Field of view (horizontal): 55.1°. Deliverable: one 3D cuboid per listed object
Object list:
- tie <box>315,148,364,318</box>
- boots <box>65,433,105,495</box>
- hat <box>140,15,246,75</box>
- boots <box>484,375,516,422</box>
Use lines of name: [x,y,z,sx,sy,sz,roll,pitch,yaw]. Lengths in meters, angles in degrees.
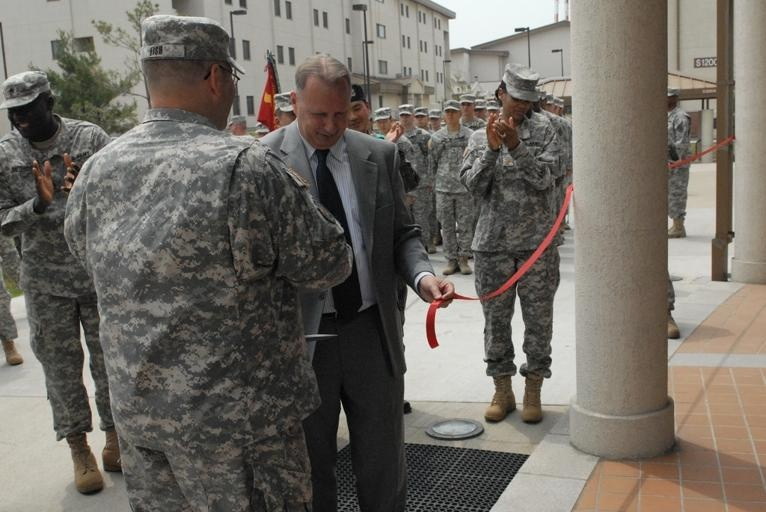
tie: [-0.320,-0.210,4.171,0.201,0.788,0.090,8,-21,-38]
boots: [-2.288,1.515,5.585,0.188,0.311,0.520,-10,17,-27]
hat: [-0.929,-1.001,3.489,0.387,0.218,0.490,10,17,27]
boots: [0.967,1.149,6.141,0.153,0.314,0.422,-2,7,34]
